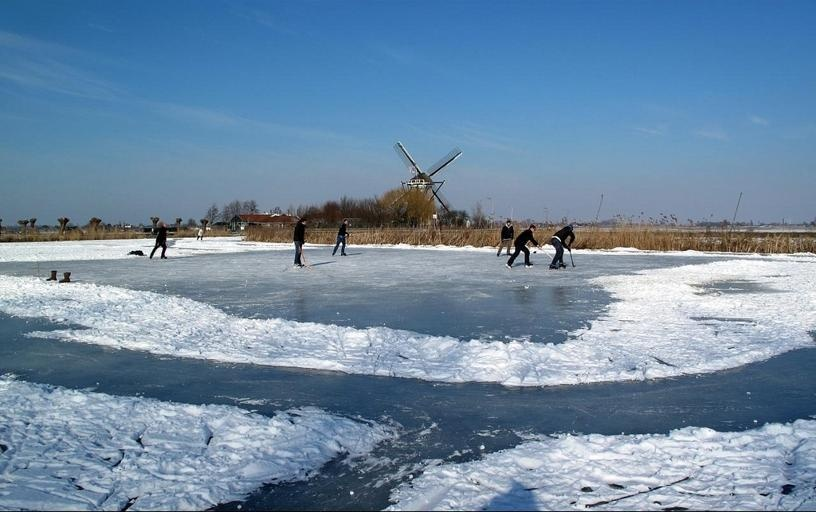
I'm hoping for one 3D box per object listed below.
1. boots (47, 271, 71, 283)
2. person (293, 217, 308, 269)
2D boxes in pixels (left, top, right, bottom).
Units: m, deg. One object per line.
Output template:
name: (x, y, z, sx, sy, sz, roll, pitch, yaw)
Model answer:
boots: (-10.338, 0.629, 16.504, 0.992, 0.328, 0.279, 4, 1, 8)
person: (-4.267, -0.504, 21.892, 0.369, 2.039, 1.058, -3, 15, -13)
